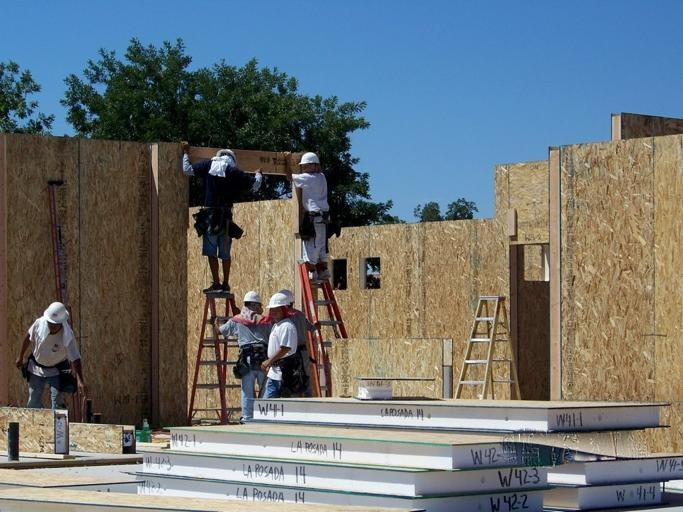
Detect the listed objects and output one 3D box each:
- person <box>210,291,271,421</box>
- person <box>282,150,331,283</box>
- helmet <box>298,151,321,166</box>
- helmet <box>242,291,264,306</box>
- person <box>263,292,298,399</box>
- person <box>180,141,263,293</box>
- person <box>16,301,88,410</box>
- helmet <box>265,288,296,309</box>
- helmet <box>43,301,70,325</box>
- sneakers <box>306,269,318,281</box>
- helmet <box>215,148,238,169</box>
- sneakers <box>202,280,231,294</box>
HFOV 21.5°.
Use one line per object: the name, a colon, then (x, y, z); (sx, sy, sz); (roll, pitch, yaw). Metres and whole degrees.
person: (-1.196, 1.255, 23.206); (0.619, 1.603, 0.344); (-3, -5, 30)
person: (-0.417, -0.564, 24.645); (0.421, 1.721, 0.715); (-2, -4, 11)
helmet: (-0.437, -1.369, 24.566); (0.254, 0.200, 0.411); (-1, -4, -3)
helmet: (-1.138, 0.527, 23.399); (0.155, 0.139, 0.229); (1, -8, 7)
person: (-0.762, 1.087, 22.393); (0.443, 1.329, 0.635); (-1, -4, -2)
person: (-1.640, -0.550, 24.307); (0.943, 1.971, 1.111); (1, -5, -32)
person: (-3.758, 1.294, 23.260); (0.852, 1.352, 1.329); (0, -4, -11)
helmet: (-0.717, 0.521, 22.412); (0.198, 0.138, 0.277); (-4, 2, 31)
helmet: (-3.585, 0.684, 22.824); (0.231, 0.156, 0.300); (12, 38, -2)
sneakers: (-0.387, 0.247, 24.847); (0.145, 0.231, 0.118); (2, -5, -22)
helmet: (-1.525, -1.398, 24.325); (0.268, 0.222, 0.270); (29, -5, -3)
sneakers: (-1.680, 0.419, 24.463); (0.341, 0.151, 0.140); (1, -2, -1)
